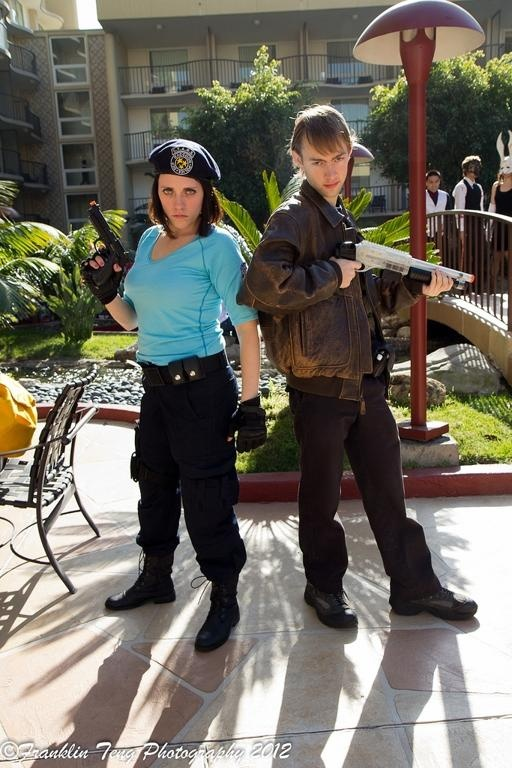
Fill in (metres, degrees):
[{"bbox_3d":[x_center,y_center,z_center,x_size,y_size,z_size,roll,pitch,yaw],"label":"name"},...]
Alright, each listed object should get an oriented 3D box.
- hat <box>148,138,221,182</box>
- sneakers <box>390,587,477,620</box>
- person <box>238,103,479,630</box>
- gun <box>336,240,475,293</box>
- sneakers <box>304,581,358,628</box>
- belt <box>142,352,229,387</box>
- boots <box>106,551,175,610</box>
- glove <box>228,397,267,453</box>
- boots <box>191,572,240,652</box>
[{"bbox_3d":[-0.252,-0.775,1.868,0.238,0.166,0.217,-3,5,-6],"label":"hat"},{"bbox_3d":[0.657,0.797,2.013,0.327,0.144,0.114,-3,2,9],"label":"sneakers"},{"bbox_3d":[0.315,-0.038,1.898,0.774,1.808,0.407,-4,5,-22],"label":"person"},{"bbox_3d":[0.506,-0.418,1.916,0.615,0.159,0.217,-5,6,-31],"label":"gun"},{"bbox_3d":[0.274,0.804,1.990,0.079,0.083,0.210,7,1,-28],"label":"sneakers"},{"bbox_3d":[-0.261,-0.051,1.929,0.315,0.111,0.152,-3,5,-4],"label":"belt"},{"bbox_3d":[-0.462,0.787,2.192,0.327,0.263,0.136,2,-1,-10],"label":"boots"},{"bbox_3d":[-0.036,0.140,1.915,0.121,0.203,0.180,-3,5,-10],"label":"glove"},{"bbox_3d":[-0.141,0.801,1.928,0.098,0.189,0.276,-2,4,23],"label":"boots"}]
